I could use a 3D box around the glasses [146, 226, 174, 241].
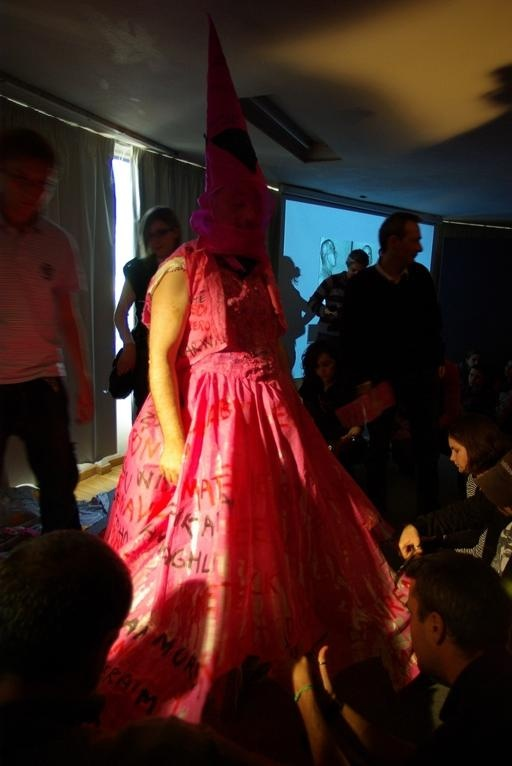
[{"bbox_3d":[-0.425,-0.663,2.280,0.069,0.070,0.022,-6,28,-9],"label":"glasses"}]
